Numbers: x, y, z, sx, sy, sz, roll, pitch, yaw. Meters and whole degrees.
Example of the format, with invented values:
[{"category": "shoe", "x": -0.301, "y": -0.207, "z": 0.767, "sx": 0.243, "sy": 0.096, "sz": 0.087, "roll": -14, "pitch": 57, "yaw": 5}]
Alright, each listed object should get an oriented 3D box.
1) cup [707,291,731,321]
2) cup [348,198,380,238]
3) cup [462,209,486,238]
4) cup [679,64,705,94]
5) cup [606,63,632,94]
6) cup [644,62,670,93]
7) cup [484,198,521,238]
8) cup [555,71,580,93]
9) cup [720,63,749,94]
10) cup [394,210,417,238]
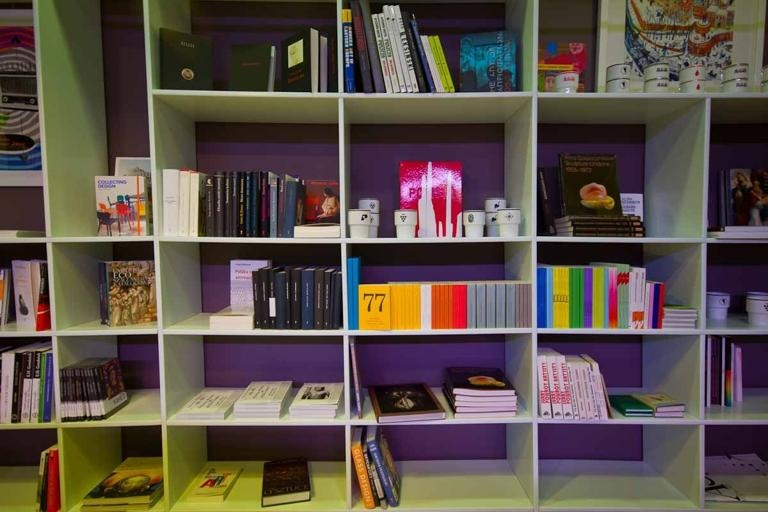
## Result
[{"category": "cup", "x": 1.967, "y": 0.293, "z": 3.927, "sx": 0.157, "sy": 0.152, "sz": 0.159, "roll": 0, "pitch": -3, "yaw": 0}, {"category": "cup", "x": -0.118, "y": -0.215, "z": 3.798, "sx": 0.176, "sy": 0.218, "sz": 0.177, "roll": -2, "pitch": 6, "yaw": 0}, {"category": "cup", "x": 0.520, "y": -0.184, "z": 3.785, "sx": 0.154, "sy": 0.165, "sz": 0.151, "roll": 0, "pitch": -1, "yaw": 0}, {"category": "cup", "x": 1.753, "y": -0.997, "z": 3.754, "sx": 0.156, "sy": 0.156, "sz": 0.154, "roll": 1, "pitch": -1, "yaw": 0}, {"category": "cup", "x": 1.353, "y": -1.022, "z": 3.772, "sx": 0.139, "sy": 0.171, "sz": 0.127, "roll": -2, "pitch": 6, "yaw": 0}, {"category": "cup", "x": 1.563, "y": -1.015, "z": 3.732, "sx": 0.161, "sy": 0.164, "sz": 0.158, "roll": 0, "pitch": 2, "yaw": 0}, {"category": "cup", "x": 0.681, "y": -0.224, "z": 3.833, "sx": 0.242, "sy": 0.218, "sz": 0.207, "roll": 1, "pitch": 7, "yaw": 26}, {"category": "cup", "x": 1.049, "y": -0.992, "z": 3.746, "sx": 0.129, "sy": 0.110, "sz": 0.126, "roll": 0, "pitch": 1, "yaw": 0}, {"category": "cup", "x": 1.997, "y": -1.001, "z": 3.737, "sx": 0.162, "sy": 0.163, "sz": 0.159, "roll": 0, "pitch": 1, "yaw": 0}, {"category": "cup", "x": 0.119, "y": -0.184, "z": 3.752, "sx": 0.154, "sy": 0.165, "sz": 0.150, "roll": 0, "pitch": 0, "yaw": 0}]
